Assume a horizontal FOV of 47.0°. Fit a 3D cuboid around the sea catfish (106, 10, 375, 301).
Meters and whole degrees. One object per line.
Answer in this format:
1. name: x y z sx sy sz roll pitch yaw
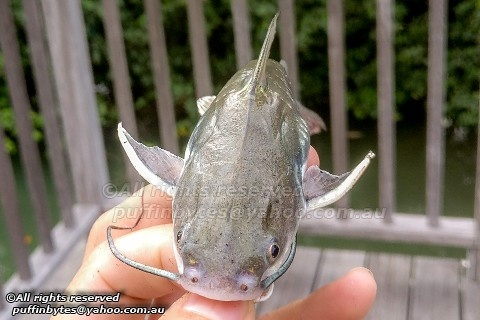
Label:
1. sea catfish: 0.108 0.136 2.102 0.811 0.479 1.377 -20 20 23
